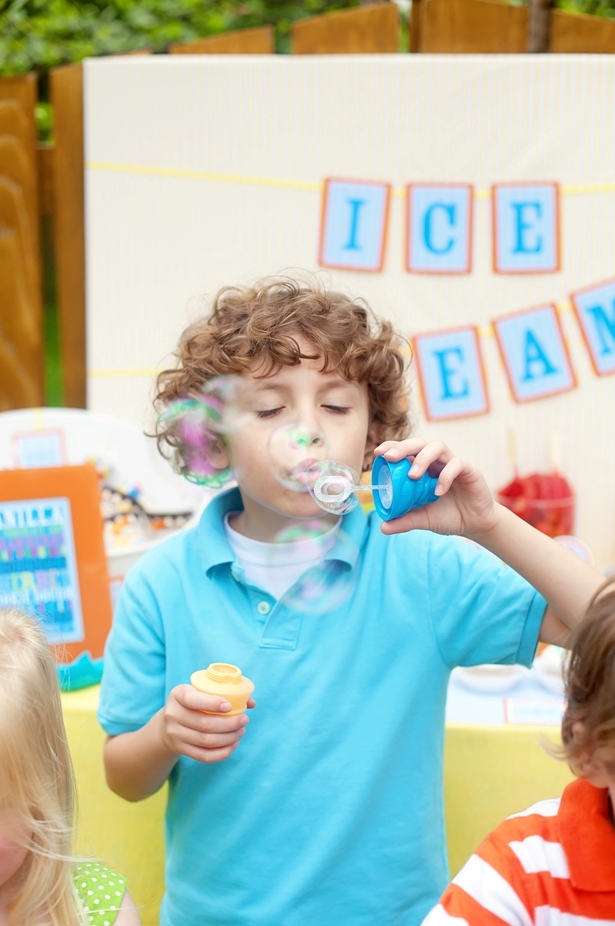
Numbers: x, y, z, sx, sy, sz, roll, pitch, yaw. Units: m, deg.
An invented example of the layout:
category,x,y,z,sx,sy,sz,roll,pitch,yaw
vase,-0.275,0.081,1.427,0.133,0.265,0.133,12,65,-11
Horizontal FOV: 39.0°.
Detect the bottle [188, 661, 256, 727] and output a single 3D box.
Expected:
category,x,y,z,sx,sy,sz,roll,pitch,yaw
bottle,-0.085,0.226,0.849,0.059,0.045,0.049,-1,14,2
